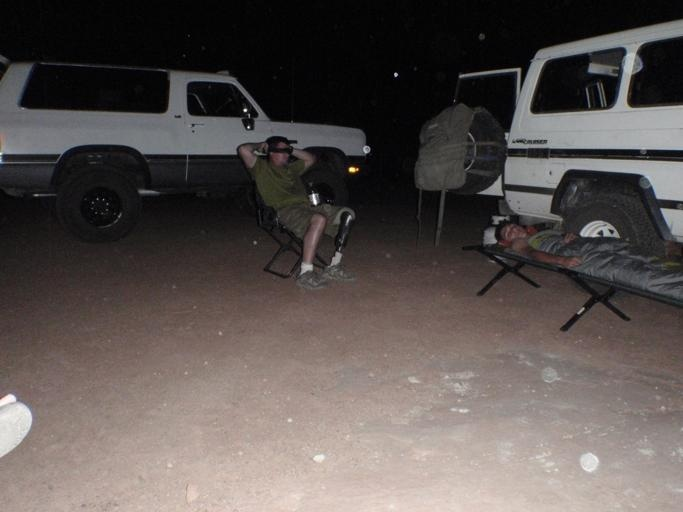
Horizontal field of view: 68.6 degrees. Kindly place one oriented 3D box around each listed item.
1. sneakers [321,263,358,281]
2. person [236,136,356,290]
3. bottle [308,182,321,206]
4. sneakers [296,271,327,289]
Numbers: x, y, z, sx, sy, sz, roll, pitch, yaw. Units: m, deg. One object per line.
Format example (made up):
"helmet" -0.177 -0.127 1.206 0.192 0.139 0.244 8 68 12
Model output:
"sneakers" -0.043 0.176 5.734 0.344 0.175 0.175 3 7 -13
"person" -0.520 -0.579 5.880 0.846 1.446 1.474 -11 26 -38
"bottle" -0.328 -0.748 5.995 0.165 0.243 0.303 4 20 -4
"sneakers" -0.336 0.253 5.535 0.185 0.125 0.280 -3 3 -43
